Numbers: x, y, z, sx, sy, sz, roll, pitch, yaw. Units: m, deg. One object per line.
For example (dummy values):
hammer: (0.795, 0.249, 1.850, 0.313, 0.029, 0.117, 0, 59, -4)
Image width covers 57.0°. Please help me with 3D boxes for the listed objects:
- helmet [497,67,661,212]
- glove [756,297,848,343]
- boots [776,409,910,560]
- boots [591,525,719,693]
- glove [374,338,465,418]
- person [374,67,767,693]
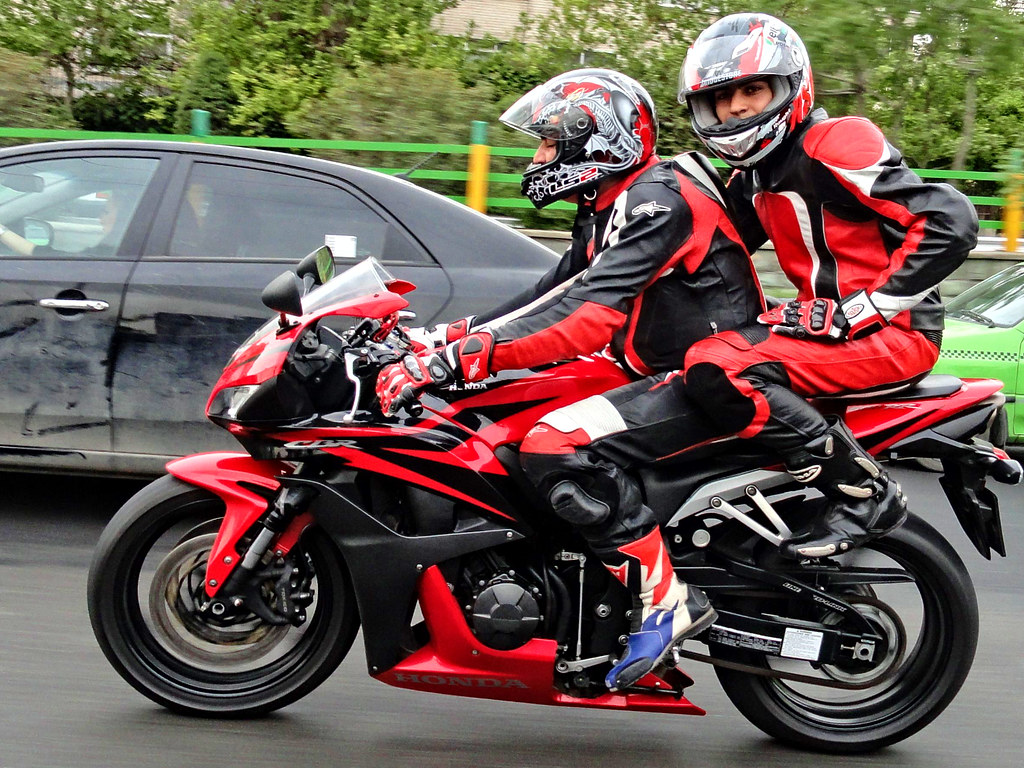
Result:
helmet: (0.270, -0.961, 3.658, 0.788, 0.419, 0.464, 0, 2, 1)
glove: (1.044, -0.231, 3.397, 0.276, 0.070, 0.147, 3, 43, 7)
boots: (1.214, 0.396, 3.473, 0.462, 0.541, 0.168, 8, 15, 7)
boots: (0.407, 0.813, 3.442, 0.255, 0.461, 0.648, -7, 17, 44)
glove: (-0.347, -0.010, 3.331, 0.208, 0.279, 0.205, 15, 16, 31)
person: (0.291, -0.065, 3.610, 1.314, 2.261, 0.954, 10, 15, 11)
